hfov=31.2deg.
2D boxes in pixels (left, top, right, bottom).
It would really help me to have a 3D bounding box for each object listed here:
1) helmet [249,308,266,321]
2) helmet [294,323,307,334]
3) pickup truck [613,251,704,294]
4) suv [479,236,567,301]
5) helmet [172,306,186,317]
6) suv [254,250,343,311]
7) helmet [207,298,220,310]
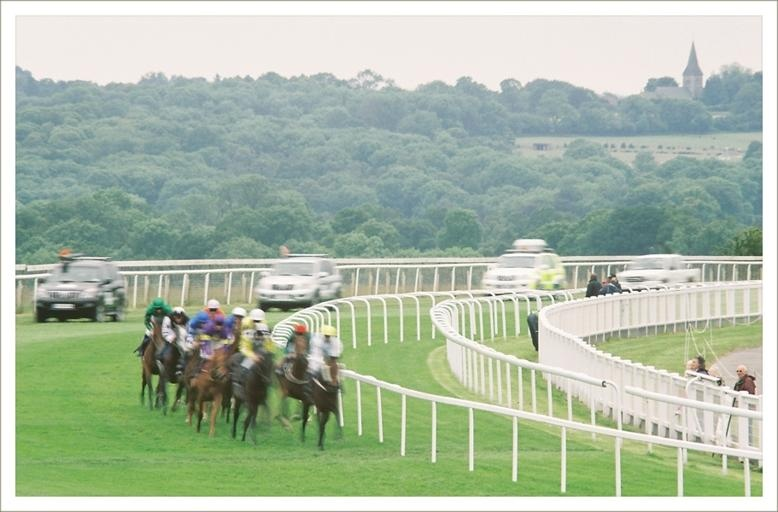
[{"bbox_3d":[-4.344,1.850,45.158,0.511,0.304,0.657,2,-10,-13],"label":"helmet"},{"bbox_3d":[-2.831,2.272,43.935,0.363,0.267,0.519,0,1,-4],"label":"helmet"},{"bbox_3d":[12.040,0.713,61.674,1.861,1.310,3.473,-4,-5,44],"label":"pickup truck"},{"bbox_3d":[5.935,0.437,60.810,2.098,1.830,3.644,-3,-4,36],"label":"suv"},{"bbox_3d":[-6.881,1.822,45.192,0.404,0.269,0.380,2,7,-8],"label":"helmet"},{"bbox_3d":[-3.781,1.093,57.687,2.812,2.165,5.050,2,2,9],"label":"suv"},{"bbox_3d":[-5.739,1.522,45.129,0.425,0.337,0.587,2,-4,-9],"label":"helmet"}]
